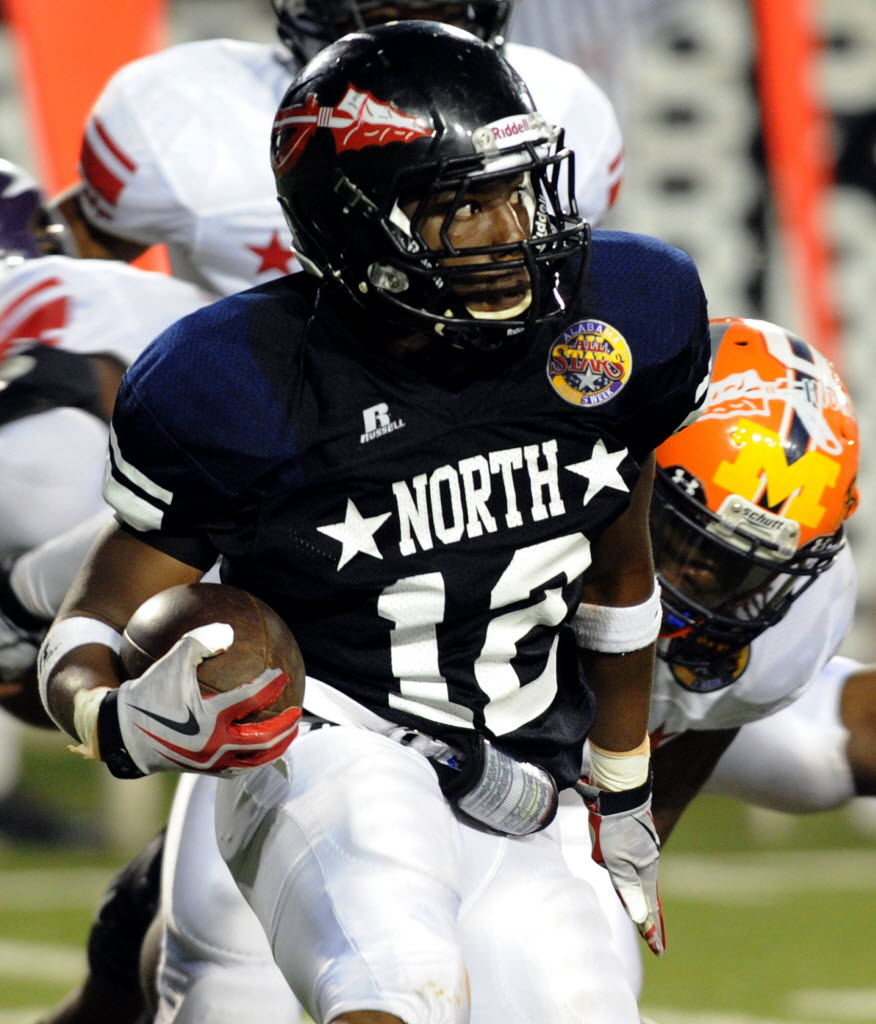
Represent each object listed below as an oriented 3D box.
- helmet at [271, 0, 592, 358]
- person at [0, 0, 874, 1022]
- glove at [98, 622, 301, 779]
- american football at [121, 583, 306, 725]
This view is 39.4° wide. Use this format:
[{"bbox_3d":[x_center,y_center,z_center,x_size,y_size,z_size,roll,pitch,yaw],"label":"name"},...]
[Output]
[{"bbox_3d":[0.009,-0.431,1.565,0.357,0.350,0.494,-32,49,-31],"label":"helmet"},{"bbox_3d":[-0.126,-0.234,2.628,1.652,2.004,0.713,-2,3,-23],"label":"person"},{"bbox_3d":[-0.226,0.188,1.265,0.209,0.135,0.064,-23,27,15],"label":"glove"},{"bbox_3d":[-0.199,0.154,1.342,0.186,0.121,0.147,19,-2,-39],"label":"american football"}]
